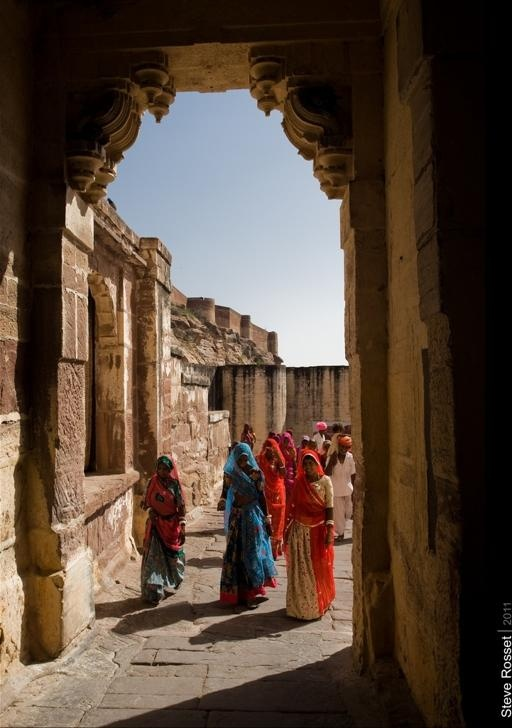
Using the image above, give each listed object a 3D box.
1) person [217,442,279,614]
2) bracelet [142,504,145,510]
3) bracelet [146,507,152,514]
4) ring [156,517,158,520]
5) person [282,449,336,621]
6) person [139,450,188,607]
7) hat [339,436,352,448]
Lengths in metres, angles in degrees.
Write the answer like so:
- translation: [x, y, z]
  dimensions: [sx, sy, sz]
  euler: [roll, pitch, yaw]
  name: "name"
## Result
- translation: [-0.062, 1.247, 5.151]
  dimensions: [0.424, 1.210, 0.512]
  euler: [1, -6, -1]
  name: "person"
- translation: [-0.904, 1.163, 5.250]
  dimensions: [0.027, 0.046, 0.014]
  euler: [8, 2, 34]
  name: "bracelet"
- translation: [-0.858, 1.178, 5.197]
  dimensions: [0.030, 0.038, 0.034]
  euler: [0, 1, 2]
  name: "bracelet"
- translation: [-0.794, 1.241, 5.219]
  dimensions: [0.016, 0.036, 0.018]
  euler: [2, -9, -18]
  name: "ring"
- translation: [0.394, 1.234, 4.755]
  dimensions: [0.365, 1.156, 0.397]
  euler: [1, -5, -2]
  name: "person"
- translation: [-0.763, 1.298, 5.208]
  dimensions: [0.310, 1.091, 0.627]
  euler: [0, -6, 12]
  name: "person"
- translation: [0.996, 0.889, 7.399]
  dimensions: [0.122, 0.148, 0.510]
  euler: [0, -7, 6]
  name: "hat"
